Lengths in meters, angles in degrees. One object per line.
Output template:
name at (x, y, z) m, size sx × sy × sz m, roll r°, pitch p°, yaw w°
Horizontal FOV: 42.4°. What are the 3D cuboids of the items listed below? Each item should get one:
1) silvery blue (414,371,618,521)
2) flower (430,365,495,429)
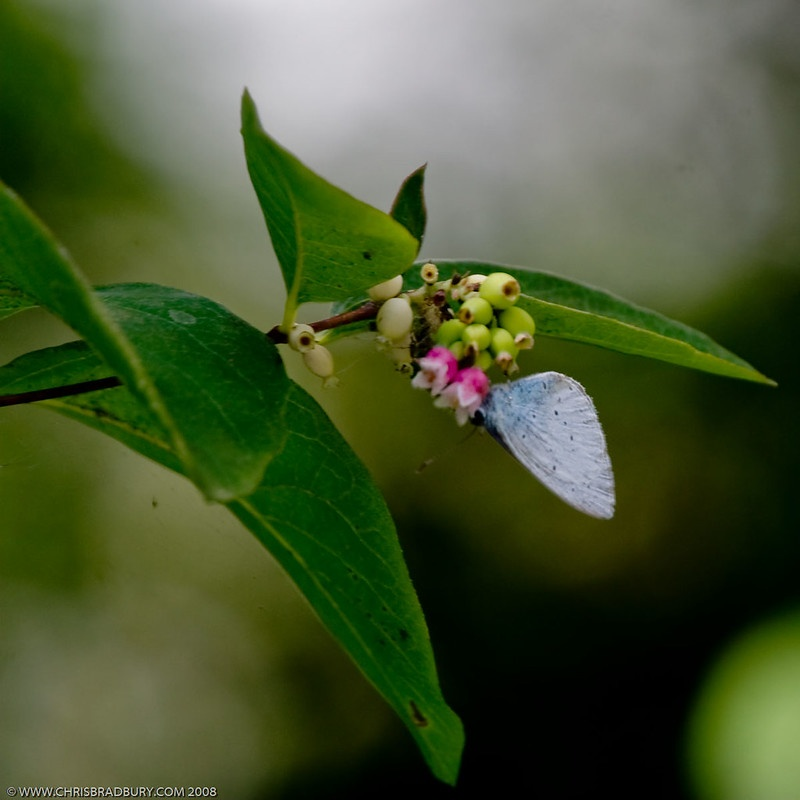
silvery blue at (0.195, 0.073, 1.828) m, size 0.303 × 0.160 × 0.333 m, roll 15°, pitch 44°, yaw -28°
flower at (0.088, -0.004, 1.483) m, size 0.065 × 0.088 × 0.062 m, roll 13°, pitch 51°, yaw 12°
